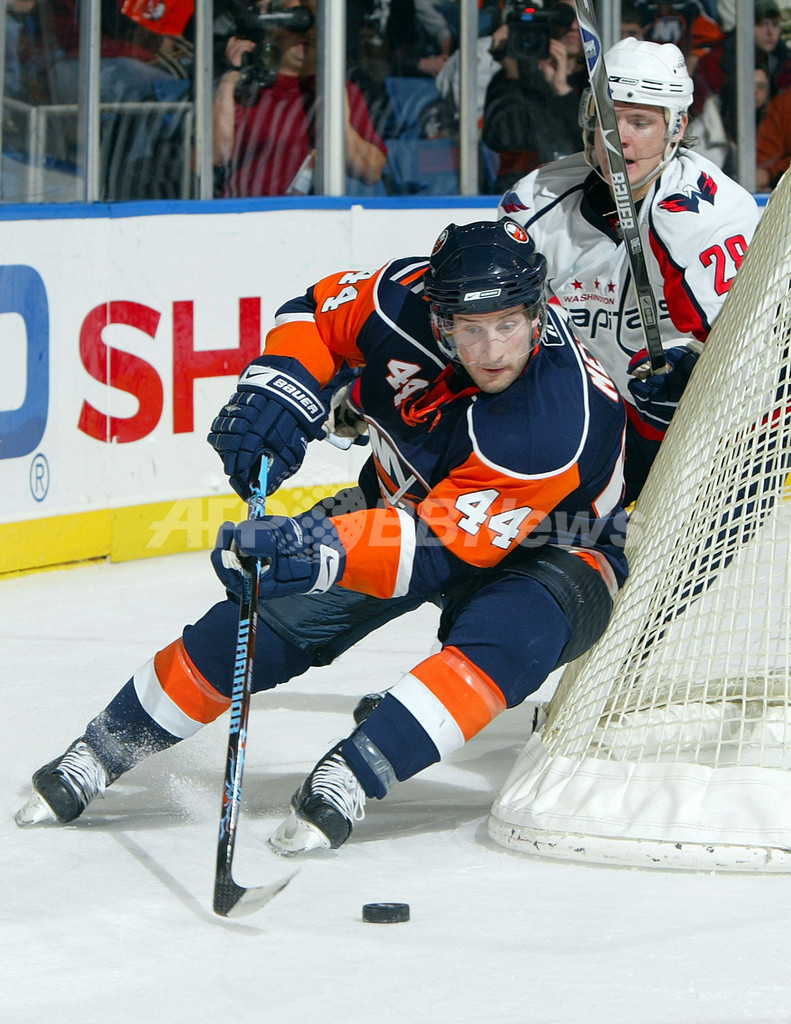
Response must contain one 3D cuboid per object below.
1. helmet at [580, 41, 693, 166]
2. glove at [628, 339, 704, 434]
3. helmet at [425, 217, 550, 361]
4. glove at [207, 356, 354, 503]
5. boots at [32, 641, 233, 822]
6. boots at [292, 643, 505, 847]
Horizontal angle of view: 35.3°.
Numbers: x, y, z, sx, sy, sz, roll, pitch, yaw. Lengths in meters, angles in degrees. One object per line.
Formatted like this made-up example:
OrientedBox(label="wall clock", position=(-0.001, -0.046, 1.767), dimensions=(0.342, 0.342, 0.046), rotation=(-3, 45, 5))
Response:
OrientedBox(label="helmet", position=(0.548, -0.925, 2.782), dimensions=(0.279, 0.293, 0.299), rotation=(10, 33, 19))
OrientedBox(label="glove", position=(0.545, -0.268, 2.615), dimensions=(0.163, 0.190, 0.126), rotation=(10, 10, 27))
OrientedBox(label="helmet", position=(0.138, -0.370, 1.913), dimensions=(0.184, 0.181, 0.217), rotation=(4, 8, -7))
OrientedBox(label="glove", position=(-0.207, -0.151, 2.092), dimensions=(0.122, 0.245, 0.186), rotation=(34, 7, 12))
OrientedBox(label="boots", position=(-0.465, 0.403, 2.201), dimensions=(0.363, 0.105, 0.152), rotation=(-36, 2, -35))
OrientedBox(label="boots", position=(0.008, 0.404, 2.080), dimensions=(0.117, 0.366, 0.156), rotation=(54, 20, -3))
